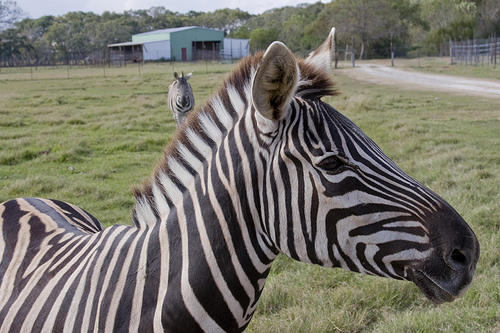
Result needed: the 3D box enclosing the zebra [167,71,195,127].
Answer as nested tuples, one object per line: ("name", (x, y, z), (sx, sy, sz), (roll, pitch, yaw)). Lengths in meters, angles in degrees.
("zebra", (-2.036, -2.003, 17.936), (0.685, 2.142, 2.734), (0, 17, -6))
